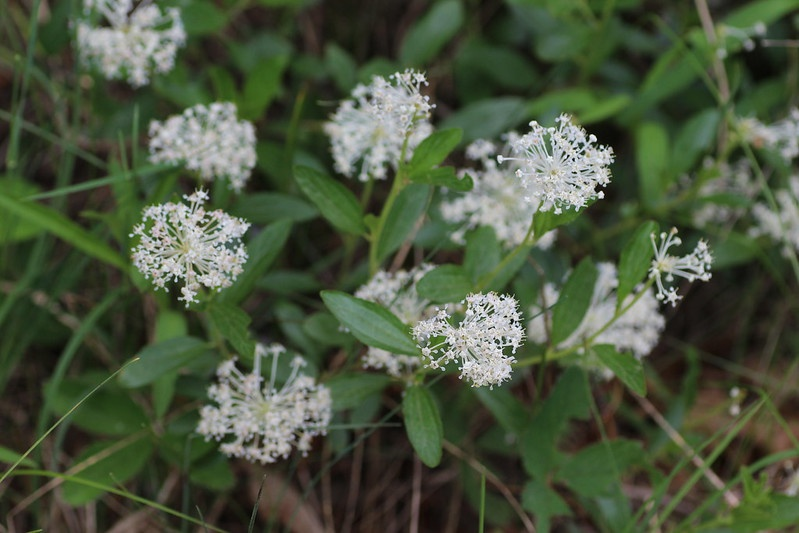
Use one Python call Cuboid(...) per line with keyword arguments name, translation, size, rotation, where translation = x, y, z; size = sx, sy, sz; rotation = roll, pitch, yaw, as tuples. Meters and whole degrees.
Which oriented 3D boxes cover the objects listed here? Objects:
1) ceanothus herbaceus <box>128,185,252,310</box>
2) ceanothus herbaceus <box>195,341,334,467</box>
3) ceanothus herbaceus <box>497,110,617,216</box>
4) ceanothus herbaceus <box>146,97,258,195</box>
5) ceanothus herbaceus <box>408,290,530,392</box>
Cuboid(name="ceanothus herbaceus", translation=(-0.651, -0.023, 2.173), size=(0.359, 0.451, 0.361), rotation=(3, 55, -6))
Cuboid(name="ceanothus herbaceus", translation=(-0.464, 0.554, 2.446), size=(0.442, 0.678, 0.471), rotation=(4, 54, -5))
Cuboid(name="ceanothus herbaceus", translation=(0.490, -0.296, 2.078), size=(0.301, 0.226, 0.282), rotation=(41, 60, 18))
Cuboid(name="ceanothus herbaceus", translation=(-0.703, -0.434, 2.449), size=(0.309, 0.140, 0.336), rotation=(5, 75, -17))
Cuboid(name="ceanothus herbaceus", translation=(0.216, 0.242, 2.097), size=(0.297, 0.192, 0.314), rotation=(-14, 61, 17))
